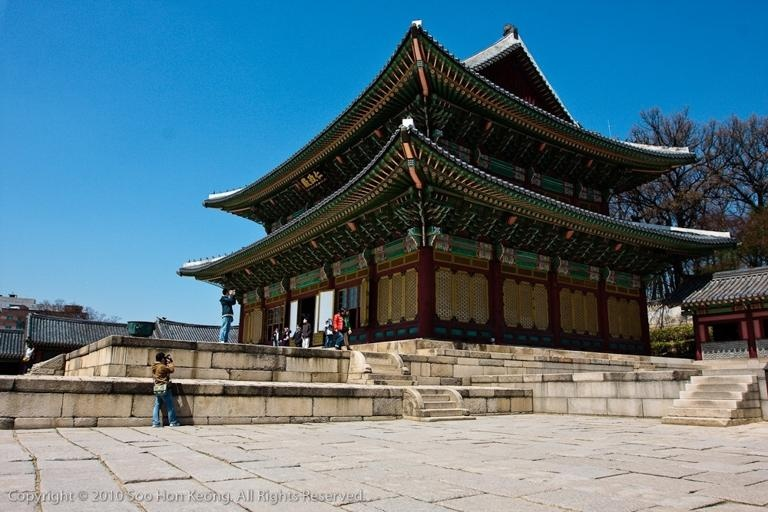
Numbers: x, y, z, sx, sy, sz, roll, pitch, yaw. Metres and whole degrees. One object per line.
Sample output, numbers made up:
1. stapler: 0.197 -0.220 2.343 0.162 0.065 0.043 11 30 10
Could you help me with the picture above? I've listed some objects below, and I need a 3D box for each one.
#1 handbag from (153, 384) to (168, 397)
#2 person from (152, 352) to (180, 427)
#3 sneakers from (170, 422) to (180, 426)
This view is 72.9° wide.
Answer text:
1. handbag: -4.382 2.616 10.189 0.211 0.134 0.262 -19 26 12
2. person: -4.354 2.639 10.331 0.598 1.406 0.469 2 -14 -12
3. sneakers: -4.143 3.304 10.248 0.183 0.065 0.223 4 -13 -21
